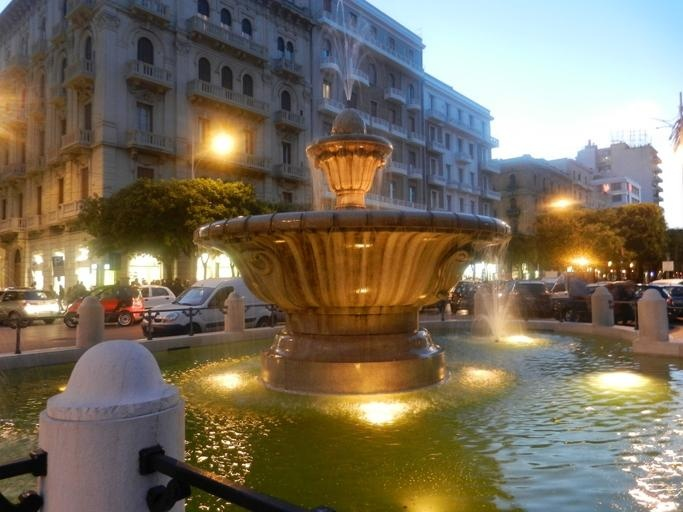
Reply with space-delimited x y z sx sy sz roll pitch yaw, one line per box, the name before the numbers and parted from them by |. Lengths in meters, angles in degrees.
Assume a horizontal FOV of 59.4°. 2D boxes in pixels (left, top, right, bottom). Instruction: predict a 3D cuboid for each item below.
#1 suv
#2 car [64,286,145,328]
suv | -3.530 1.511 16.395 3.118 1.561 1.773 8 -12 -42
car | -7.451 1.668 19.239 2.574 1.454 1.671 0 -5 -7
